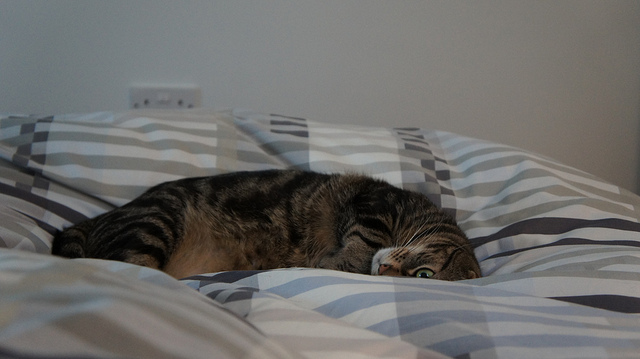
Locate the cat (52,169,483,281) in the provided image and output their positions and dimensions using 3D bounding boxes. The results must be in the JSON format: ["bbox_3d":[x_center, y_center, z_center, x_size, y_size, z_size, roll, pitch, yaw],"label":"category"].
[{"bbox_3d":[-0.133,0.220,3.028,2.156,0.671,0.598,2,82,-6],"label":"cat"}]
